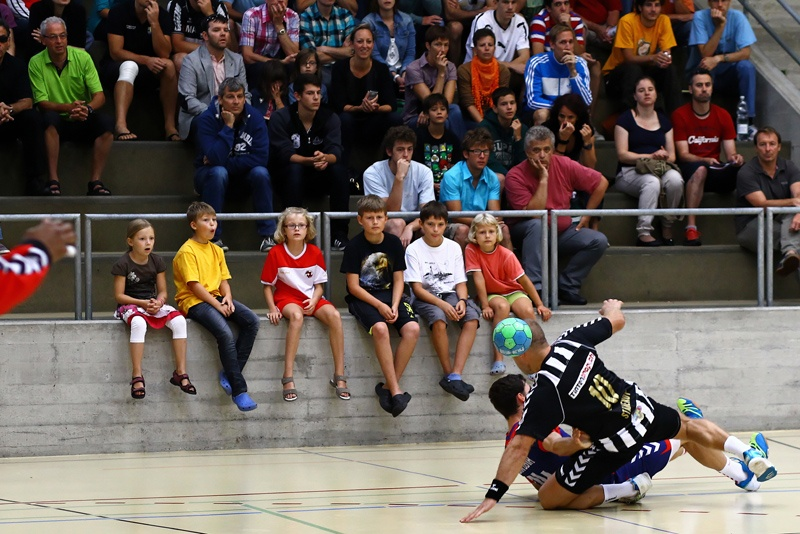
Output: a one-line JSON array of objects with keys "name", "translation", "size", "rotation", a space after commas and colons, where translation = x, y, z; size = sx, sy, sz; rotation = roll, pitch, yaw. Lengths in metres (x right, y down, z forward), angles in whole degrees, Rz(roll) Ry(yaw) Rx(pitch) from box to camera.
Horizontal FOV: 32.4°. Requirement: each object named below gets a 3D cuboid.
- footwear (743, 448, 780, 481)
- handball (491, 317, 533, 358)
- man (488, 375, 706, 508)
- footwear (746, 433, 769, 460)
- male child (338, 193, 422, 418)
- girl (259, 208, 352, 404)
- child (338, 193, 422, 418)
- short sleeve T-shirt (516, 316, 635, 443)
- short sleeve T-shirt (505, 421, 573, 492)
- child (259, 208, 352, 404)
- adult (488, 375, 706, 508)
[{"name": "footwear", "translation": [3.523, 1.929, 13.590], "size": [0.433, 0.186, 0.197], "rotation": [44, 0, -23]}, {"name": "handball", "translation": [1.136, 0.667, 13.304], "size": [0.316, 0.349, 0.319], "rotation": [-23, 4, -19]}, {"name": "man", "translation": [2.219, 1.656, 13.984], "size": [2.632, 1.301, 1.482], "rotation": [5, 4, -8]}, {"name": "footwear", "translation": [3.636, 1.828, 13.984], "size": [0.134, 0.341, 0.139], "rotation": [-29, 12, 36]}, {"name": "male child", "translation": [-0.207, 0.418, 15.580], "size": [0.854, 2.472, 0.509], "rotation": [0, 1, 13]}, {"name": "girl", "translation": [-1.076, 0.398, 15.499], "size": [0.930, 2.143, 0.291], "rotation": [-1, 1, -6]}, {"name": "child", "translation": [-0.205, 0.418, 15.580], "size": [0.848, 2.472, 0.509], "rotation": [0, 1, 13]}, {"name": "short sleeve T-shirt", "translation": [1.673, 1.115, 13.470], "size": [0.652, 1.295, 0.696], "rotation": [16, -31, 55]}, {"name": "short sleeve T-shirt", "translation": [1.462, 1.975, 13.733], "size": [0.435, 0.662, 0.761], "rotation": [26, 28, -3]}, {"name": "child", "translation": [-1.080, 0.398, 15.495], "size": [0.924, 2.142, 0.287], "rotation": [-1, 1, -5]}, {"name": "adult", "translation": [2.214, 1.708, 13.975], "size": [2.606, 1.281, 1.436], "rotation": [3, 4, -7]}]
